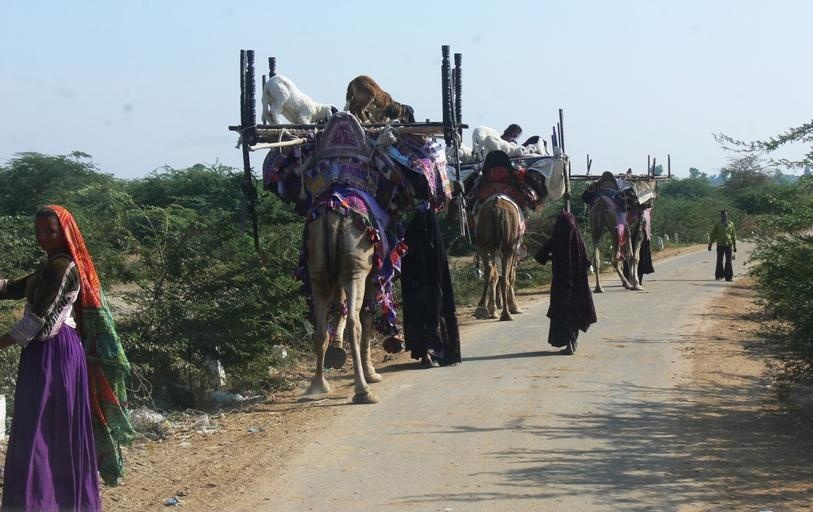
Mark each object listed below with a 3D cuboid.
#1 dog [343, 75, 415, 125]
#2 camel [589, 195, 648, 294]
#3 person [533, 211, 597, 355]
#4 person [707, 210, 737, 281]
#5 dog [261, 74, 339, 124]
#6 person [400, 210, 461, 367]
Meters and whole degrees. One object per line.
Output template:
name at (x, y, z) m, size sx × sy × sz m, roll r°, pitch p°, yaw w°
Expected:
dog at (-0.468, -2.599, 18.462) m, size 0.520 × 0.912 × 1.768 m, roll 10°, pitch 4°, yaw 30°
camel at (5.030, -0.590, 27.778) m, size 1.427 × 2.741 × 3.930 m, roll 1°, pitch 15°, yaw 11°
person at (2.619, 0.426, 18.606) m, size 0.893 × 2.384 × 0.616 m, roll -1°, pitch 15°, yaw 5°
person at (8.251, -0.329, 29.472) m, size 0.750 × 1.747 × 0.455 m, roll -1°, pitch -2°, yaw 33°
dog at (-1.765, -2.353, 17.973) m, size 1.444 × 0.747 × 0.431 m, roll 18°, pitch -11°, yaw -38°
person at (0.386, 0.401, 18.670) m, size 0.939 × 2.453 × 0.787 m, roll -3°, pitch 1°, yaw 25°
